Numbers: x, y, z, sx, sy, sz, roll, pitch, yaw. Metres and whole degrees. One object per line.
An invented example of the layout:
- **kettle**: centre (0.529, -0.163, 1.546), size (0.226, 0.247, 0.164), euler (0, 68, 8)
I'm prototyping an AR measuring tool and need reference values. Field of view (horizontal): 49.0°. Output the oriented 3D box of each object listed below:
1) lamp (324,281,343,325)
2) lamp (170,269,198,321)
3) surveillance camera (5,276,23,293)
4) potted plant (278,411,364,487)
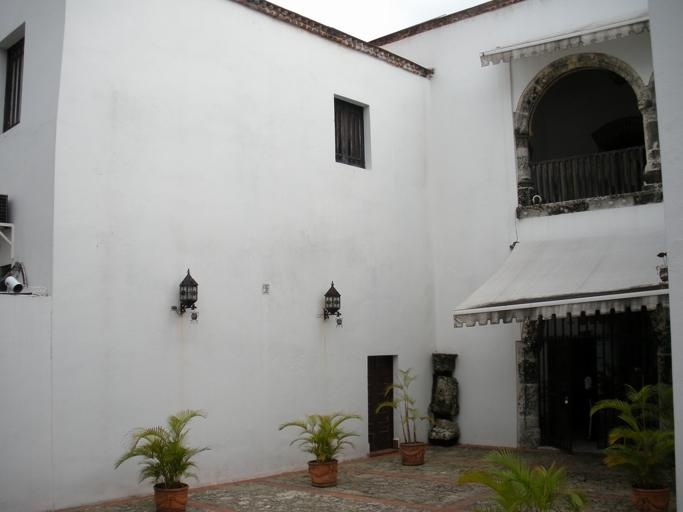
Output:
- **lamp**: centre (-0.182, 1.105, 17.410), size (0.281, 1.007, 0.605), euler (-3, -7, 36)
- **lamp**: centre (-3.104, 0.745, 15.018), size (0.484, 0.925, 0.491), euler (5, 14, -11)
- **surveillance camera**: centre (-5.951, 0.511, 13.609), size (0.273, 0.312, 0.508), euler (5, -7, -35)
- **potted plant**: centre (-0.385, 4.079, 16.032), size (1.327, 1.196, 1.502), euler (4, -18, -13)
